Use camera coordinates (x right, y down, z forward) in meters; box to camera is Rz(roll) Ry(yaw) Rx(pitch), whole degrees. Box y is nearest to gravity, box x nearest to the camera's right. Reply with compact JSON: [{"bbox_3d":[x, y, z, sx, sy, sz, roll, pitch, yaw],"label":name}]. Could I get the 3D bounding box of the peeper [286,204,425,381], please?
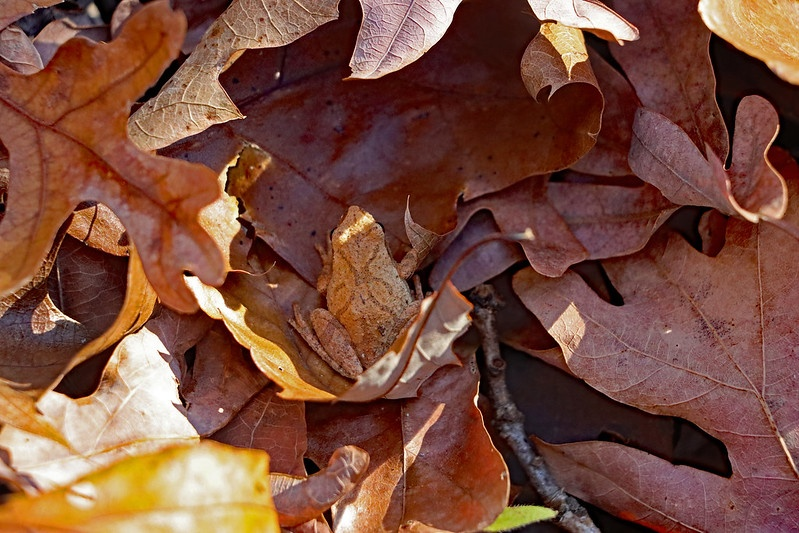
[{"bbox_3d":[-0.124,0.089,2.738,0.273,0.362,0.385,22,55,25],"label":"peeper"}]
